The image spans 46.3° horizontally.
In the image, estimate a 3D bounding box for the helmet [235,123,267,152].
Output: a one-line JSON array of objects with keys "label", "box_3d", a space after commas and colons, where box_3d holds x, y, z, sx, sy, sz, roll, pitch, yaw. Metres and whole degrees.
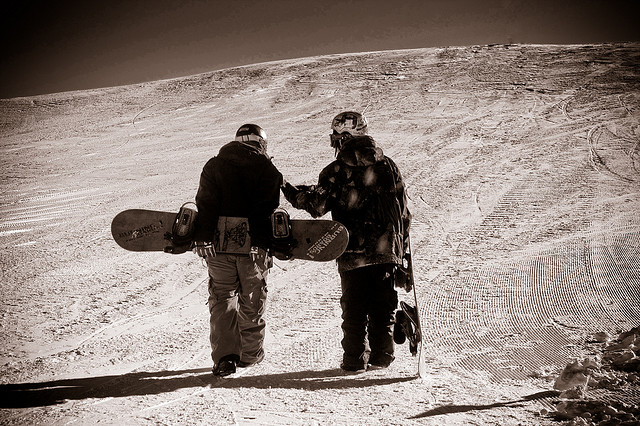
[{"label": "helmet", "box_3d": [-1.217, -1.350, 13.346, 0.480, 0.488, 0.393, -5, 13, 6]}]

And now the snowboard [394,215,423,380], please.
[{"label": "snowboard", "box_3d": [1.567, 1.519, 13.394, 0.522, 2.754, 0.455, -2, -5, 18]}]
